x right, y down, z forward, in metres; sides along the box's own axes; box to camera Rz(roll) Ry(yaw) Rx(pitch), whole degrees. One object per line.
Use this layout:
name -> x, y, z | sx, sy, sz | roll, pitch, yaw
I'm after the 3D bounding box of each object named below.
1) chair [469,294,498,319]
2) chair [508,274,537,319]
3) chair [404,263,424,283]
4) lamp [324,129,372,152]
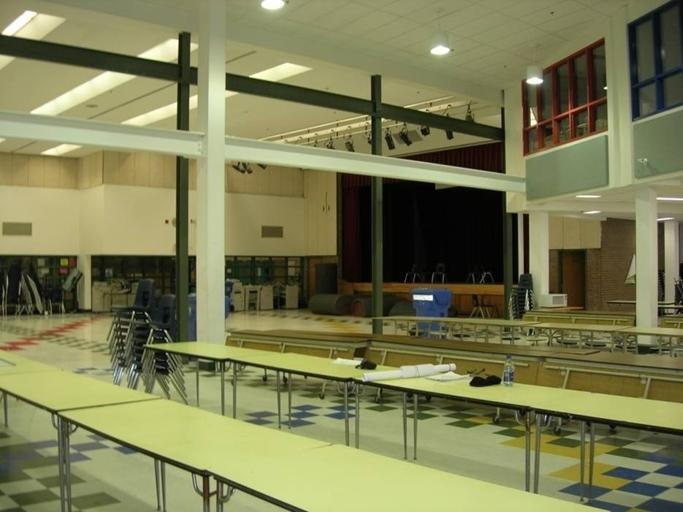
chair -> 4.764, 1.668, 20.550 | 0.806, 1.110, 0.784 | 2, -7, -36
chair -> 5.128, 1.130, 17.248 | 0.723, 1.300, 1.179 | 0, 1, 18
chair -> 2.991, 0.686, 25.166 | 0.746, 0.512, 0.752 | 3, -7, -7
lamp -> 0.194, -4.016, 20.738 | 0.680, 1.141, 3.412 | -2, 7, 11
